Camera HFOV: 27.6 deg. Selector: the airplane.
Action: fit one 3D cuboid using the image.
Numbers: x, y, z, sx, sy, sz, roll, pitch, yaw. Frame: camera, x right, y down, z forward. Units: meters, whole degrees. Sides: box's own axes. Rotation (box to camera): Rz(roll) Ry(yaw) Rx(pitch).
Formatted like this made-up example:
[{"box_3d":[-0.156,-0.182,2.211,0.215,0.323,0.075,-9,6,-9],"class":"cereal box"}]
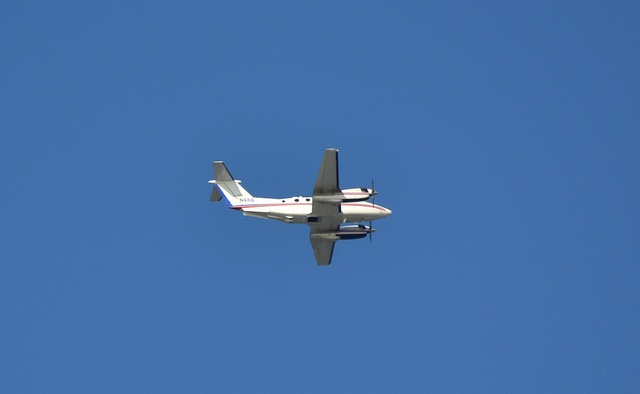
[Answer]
[{"box_3d":[-0.679,2.549,76.186,7.604,2.723,9.507,0,-52,-7],"class":"airplane"}]
